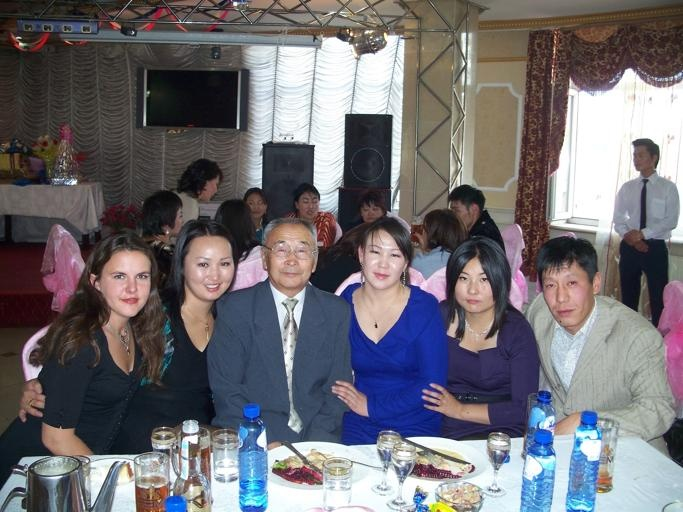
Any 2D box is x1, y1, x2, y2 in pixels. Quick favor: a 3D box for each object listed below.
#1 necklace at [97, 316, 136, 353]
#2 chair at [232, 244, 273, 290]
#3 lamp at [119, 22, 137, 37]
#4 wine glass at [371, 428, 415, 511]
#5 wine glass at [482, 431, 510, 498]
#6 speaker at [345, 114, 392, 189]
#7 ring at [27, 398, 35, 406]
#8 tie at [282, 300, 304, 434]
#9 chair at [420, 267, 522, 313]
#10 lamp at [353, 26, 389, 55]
[{"bbox_3d":[-0.958,0.335,2.338,0.046,0.184,0.121,-2,15,25],"label":"necklace"},{"bbox_3d":[-0.612,0.077,3.604,0.323,0.165,0.239,-13,9,-24],"label":"chair"},{"bbox_3d":[-2.498,-2.675,6.509,0.198,0.138,0.217,-1,4,-11],"label":"lamp"},{"bbox_3d":[0.173,0.732,1.853,0.070,0.177,0.181,-3,11,-19],"label":"wine glass"},{"bbox_3d":[0.552,0.702,1.949,0.081,0.187,0.255,2,4,17],"label":"wine glass"},{"bbox_3d":[0.391,-1.487,7.776,0.839,1.332,0.718,2,9,1],"label":"speaker"},{"bbox_3d":[-1.272,0.603,2.270,0.023,0.009,0.025,0,15,0],"label":"ring"},{"bbox_3d":[-0.221,0.515,2.614,0.083,0.621,0.080,-1,-13,-4],"label":"tie"},{"bbox_3d":[0.811,0.213,3.980,0.477,0.245,0.631,1,6,6],"label":"chair"},{"bbox_3d":[0.354,-2.503,6.512,0.402,0.310,0.273,-14,-6,12],"label":"lamp"}]
